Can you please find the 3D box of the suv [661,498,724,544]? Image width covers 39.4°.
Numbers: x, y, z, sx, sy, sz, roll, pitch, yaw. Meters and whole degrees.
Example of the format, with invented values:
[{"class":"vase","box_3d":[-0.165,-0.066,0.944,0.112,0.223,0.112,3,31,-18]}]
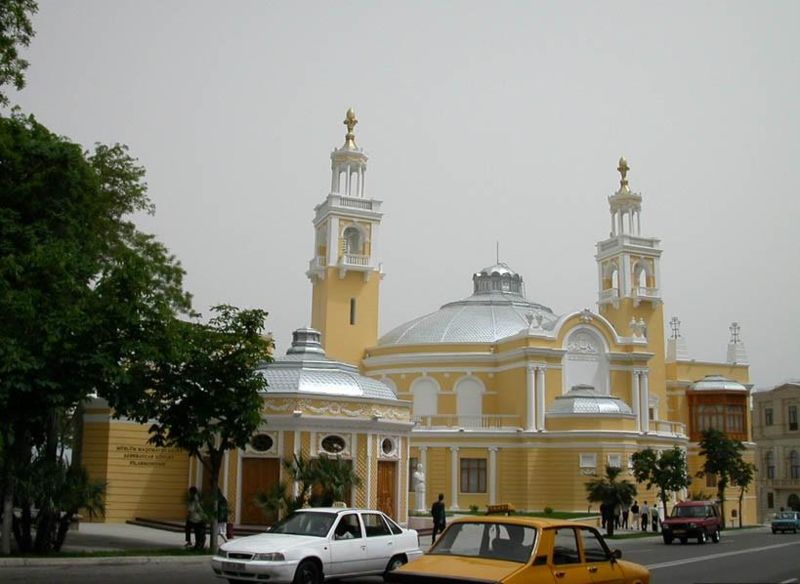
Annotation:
[{"class":"suv","box_3d":[12.438,9.750,47.394,1.386,1.389,2.792,-11,-25,29]}]
